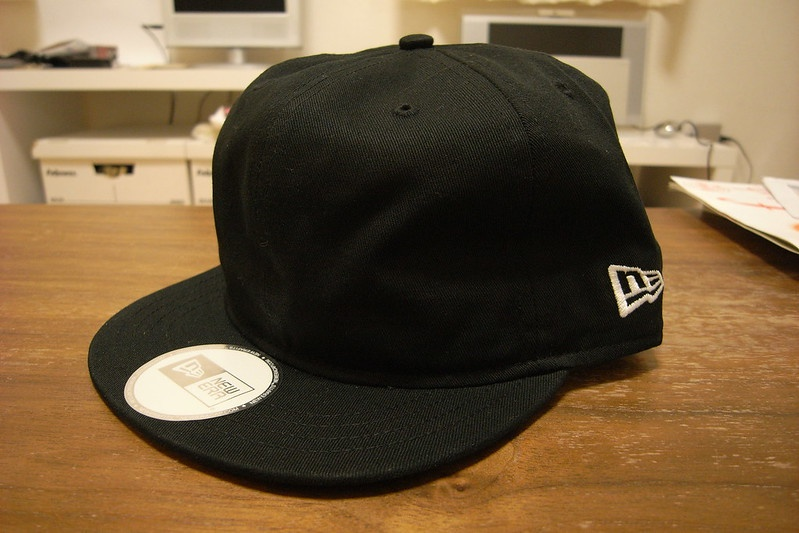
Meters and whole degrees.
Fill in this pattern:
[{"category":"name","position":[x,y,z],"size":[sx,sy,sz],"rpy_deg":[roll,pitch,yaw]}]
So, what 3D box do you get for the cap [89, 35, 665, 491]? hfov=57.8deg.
[{"category":"cap","position":[0.055,-0.030,0.819],"size":[0.475,0.249,0.576],"rpy_deg":[19,30,40]}]
